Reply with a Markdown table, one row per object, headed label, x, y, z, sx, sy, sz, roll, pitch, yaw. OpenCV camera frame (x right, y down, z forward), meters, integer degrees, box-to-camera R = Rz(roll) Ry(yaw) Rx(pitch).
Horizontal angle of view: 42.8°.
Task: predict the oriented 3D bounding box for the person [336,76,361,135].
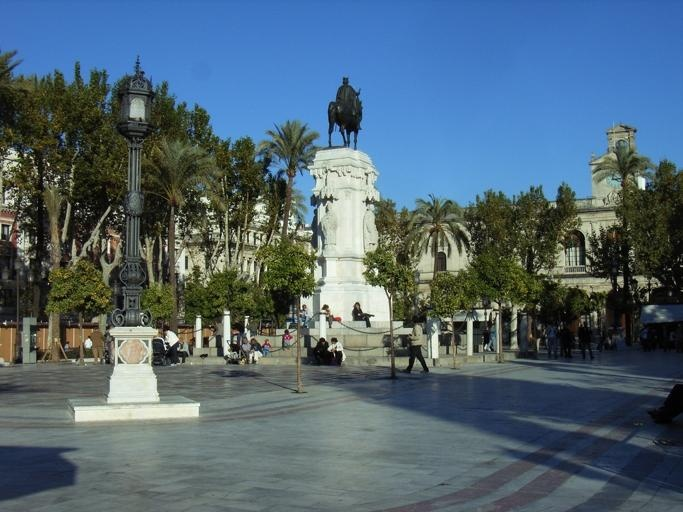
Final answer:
| label | x | y | z | sx | sy | sz | roll | pitch | yaw |
| --- | --- | --- | --- | --- | --- | --- | --- | --- | --- |
| person | 0.349 | -7.664 | 43.804 | 1.134 | 2.766 | 0.747 | -1 | -7 | -1 |

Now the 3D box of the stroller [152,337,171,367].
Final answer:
| label | x | y | z | sx | sy | sz | roll | pitch | yaw |
| --- | --- | --- | --- | --- | --- | --- | --- | --- | --- |
| stroller | -7.816 | 4.214 | 37.890 | 0.688 | 1.180 | 0.958 | 1 | -8 | -11 |

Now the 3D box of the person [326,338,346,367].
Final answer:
| label | x | y | z | sx | sy | sz | roll | pitch | yaw |
| --- | --- | --- | --- | --- | --- | --- | --- | --- | --- |
| person | -0.247 | 3.924 | 35.371 | 0.675 | 1.181 | 1.120 | -1 | -8 | 0 |

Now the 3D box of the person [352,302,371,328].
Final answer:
| label | x | y | z | sx | sy | sz | roll | pitch | yaw |
| --- | --- | --- | --- | --- | --- | --- | --- | --- | --- |
| person | 0.875 | 2.738 | 40.044 | 0.829 | 1.302 | 1.431 | -1 | -8 | -1 |

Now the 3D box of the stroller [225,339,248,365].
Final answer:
| label | x | y | z | sx | sy | sz | roll | pitch | yaw |
| --- | --- | --- | --- | --- | --- | --- | --- | --- | --- |
| stroller | -4.483 | 4.272 | 37.695 | 0.662 | 1.010 | 1.027 | 1 | 0 | 9 |

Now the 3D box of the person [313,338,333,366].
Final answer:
| label | x | y | z | sx | sy | sz | roll | pitch | yaw |
| --- | --- | --- | --- | --- | --- | --- | --- | --- | --- |
| person | -0.825 | 3.989 | 35.747 | 0.944 | 1.443 | 0.921 | -2 | -12 | -1 |

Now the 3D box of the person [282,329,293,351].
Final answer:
| label | x | y | z | sx | sy | sz | roll | pitch | yaw |
| --- | --- | --- | --- | --- | --- | --- | --- | --- | --- |
| person | -2.311 | 3.831 | 38.905 | 0.490 | 0.853 | 0.577 | 0 | -12 | -5 |

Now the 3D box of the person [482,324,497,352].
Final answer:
| label | x | y | z | sx | sy | sz | roll | pitch | yaw |
| --- | --- | --- | --- | --- | --- | --- | --- | --- | --- |
| person | 7.428 | 4.228 | 44.298 | 0.632 | 1.305 | 1.673 | -2 | -8 | 10 |
